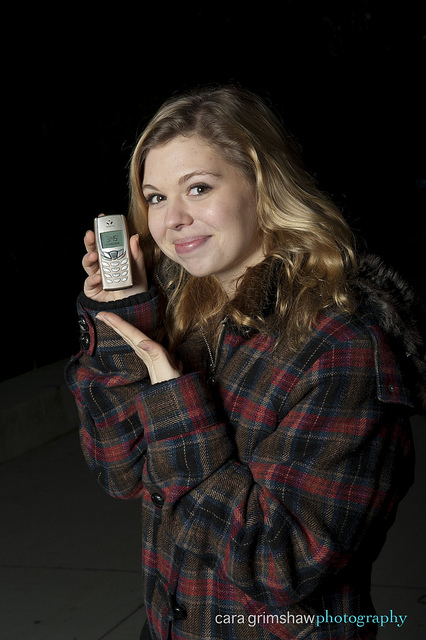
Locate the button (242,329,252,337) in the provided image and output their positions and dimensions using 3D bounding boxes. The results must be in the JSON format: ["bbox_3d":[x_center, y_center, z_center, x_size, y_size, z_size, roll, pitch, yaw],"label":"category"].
[{"bbox_3d":[0.056,0.022,0.948,0.013,0.012,0.003,-6,-17,16],"label":"button"}]

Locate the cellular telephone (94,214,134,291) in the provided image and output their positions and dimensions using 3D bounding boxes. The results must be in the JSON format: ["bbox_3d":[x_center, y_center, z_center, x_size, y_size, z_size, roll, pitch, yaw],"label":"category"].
[{"bbox_3d":[-0.197,-0.134,1.123,0.071,0.149,0.139,-11,11,-8],"label":"cellular telephone"}]

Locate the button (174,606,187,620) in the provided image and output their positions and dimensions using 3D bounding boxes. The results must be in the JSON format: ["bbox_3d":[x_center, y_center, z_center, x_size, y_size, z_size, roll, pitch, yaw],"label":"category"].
[{"bbox_3d":[-0.049,0.438,0.844,0.016,0.021,0.009,0,11,13],"label":"button"}]

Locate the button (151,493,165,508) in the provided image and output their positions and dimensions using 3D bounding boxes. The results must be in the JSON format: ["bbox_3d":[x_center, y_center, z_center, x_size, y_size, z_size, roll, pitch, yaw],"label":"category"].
[{"bbox_3d":[-0.085,0.274,0.860,0.016,0.021,0.006,-25,-1,11],"label":"button"}]

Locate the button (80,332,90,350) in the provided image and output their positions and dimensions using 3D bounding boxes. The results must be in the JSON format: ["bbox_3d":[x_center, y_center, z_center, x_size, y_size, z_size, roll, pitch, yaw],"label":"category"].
[{"bbox_3d":[-0.238,0.038,1.053,0.022,0.028,0.007,0,-3,43],"label":"button"}]

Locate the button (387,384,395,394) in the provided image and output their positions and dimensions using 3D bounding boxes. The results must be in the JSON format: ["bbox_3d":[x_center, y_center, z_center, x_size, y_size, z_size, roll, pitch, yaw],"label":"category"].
[{"bbox_3d":[0.239,0.092,0.754,0.010,0.010,0.003,4,-18,-21],"label":"button"}]

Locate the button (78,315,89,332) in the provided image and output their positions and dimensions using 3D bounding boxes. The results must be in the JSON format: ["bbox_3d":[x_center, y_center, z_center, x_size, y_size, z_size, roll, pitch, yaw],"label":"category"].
[{"bbox_3d":[-0.250,0.005,1.087,0.022,0.028,0.026,0,10,37],"label":"button"}]
